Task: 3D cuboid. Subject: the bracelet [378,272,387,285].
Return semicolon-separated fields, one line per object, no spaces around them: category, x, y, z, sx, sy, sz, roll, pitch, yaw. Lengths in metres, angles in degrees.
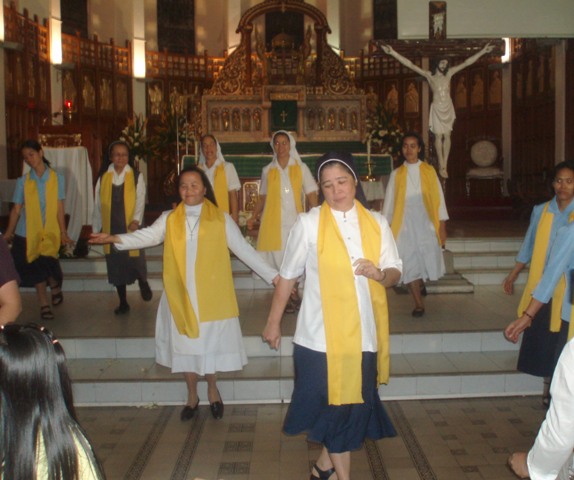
bracelet;0.468;0.196;2.967;0.036;0.050;0.025;1;3;-30

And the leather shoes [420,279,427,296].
leather shoes;1.405;0.503;6.187;0.058;0.205;0.075;-3;-1;2

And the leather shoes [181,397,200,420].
leather shoes;-0.666;1.177;4.158;0.059;0.066;0.176;-1;3;15

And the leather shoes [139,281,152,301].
leather shoes;-1.461;0.505;6.150;0.088;0.262;0.108;-14;32;-4

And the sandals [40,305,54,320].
sandals;-2.252;0.681;5.671;0.114;0.121;0.224;-6;10;-23

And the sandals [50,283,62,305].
sandals;-2.362;0.564;6.173;0.087;0.276;0.064;-5;7;-18

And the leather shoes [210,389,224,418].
leather shoes;-0.481;1.132;4.138;0.069;0.221;0.058;-10;-9;-1

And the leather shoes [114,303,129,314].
leather shoes;-1.611;0.672;5.860;0.072;0.149;0.147;-3;-5;40
